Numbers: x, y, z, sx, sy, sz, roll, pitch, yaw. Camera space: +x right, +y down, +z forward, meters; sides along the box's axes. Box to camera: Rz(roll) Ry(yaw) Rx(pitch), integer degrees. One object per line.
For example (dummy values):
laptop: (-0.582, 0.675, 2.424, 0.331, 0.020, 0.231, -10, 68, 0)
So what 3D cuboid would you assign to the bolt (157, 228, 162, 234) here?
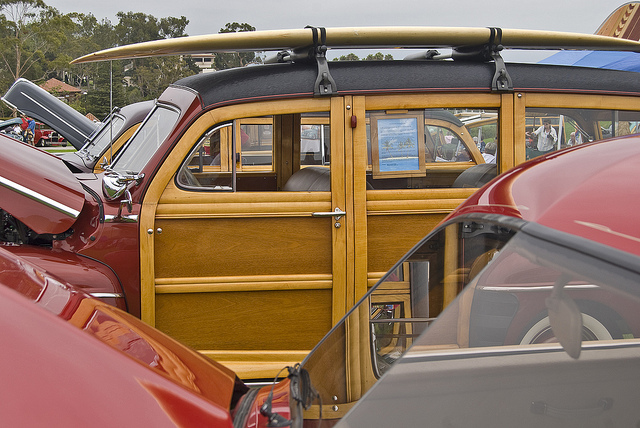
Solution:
bolt: (-1.055, 0.113, 4.228, 0.029, 0.049, 0.029, 4, 16, 18)

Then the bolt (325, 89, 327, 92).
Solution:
bolt: (0.042, -0.832, 4.343, 0.016, 0.015, 0.008, 1, 8, 4)
